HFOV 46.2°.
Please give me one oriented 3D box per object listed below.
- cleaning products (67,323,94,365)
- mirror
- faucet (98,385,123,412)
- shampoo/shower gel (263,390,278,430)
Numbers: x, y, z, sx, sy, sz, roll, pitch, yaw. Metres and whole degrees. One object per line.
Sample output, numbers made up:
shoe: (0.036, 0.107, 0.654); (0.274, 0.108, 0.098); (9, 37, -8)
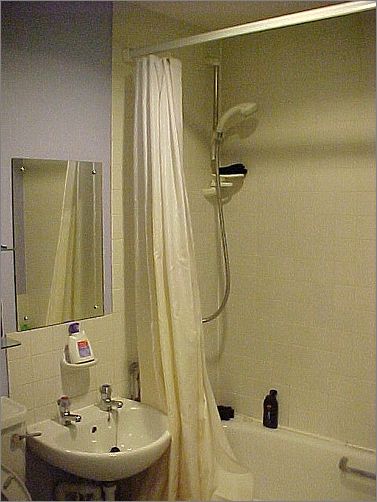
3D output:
cleaning products: (-0.433, 0.358, 1.740); (0.104, 0.135, 0.175); (-1, 7, -25)
mirror: (-0.494, -0.030, 1.709); (0.020, 0.650, 0.416); (6, 7, 34)
faucet: (-0.331, 0.612, 1.850); (0.113, 0.107, 0.092); (3, 6, 6)
shampoo/shower gel: (0.435, 0.854, 2.353); (0.074, 0.053, 0.208); (-1, 50, 13)
